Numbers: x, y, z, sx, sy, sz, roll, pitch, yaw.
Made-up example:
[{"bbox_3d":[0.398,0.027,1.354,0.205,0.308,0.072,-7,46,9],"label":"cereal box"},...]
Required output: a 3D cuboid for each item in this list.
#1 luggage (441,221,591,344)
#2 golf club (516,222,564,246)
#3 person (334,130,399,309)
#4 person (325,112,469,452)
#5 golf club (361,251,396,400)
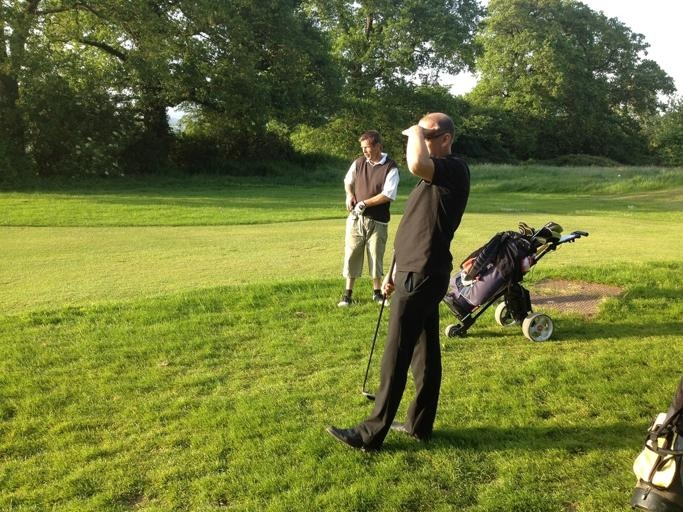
[{"bbox_3d":[2.108,0.256,9.402,2.024,1.771,1.198,-3,10,-2],"label":"luggage"},{"bbox_3d":[2.609,-0.304,8.825,0.685,0.273,0.246,10,26,-32],"label":"golf club"},{"bbox_3d":[0.394,-0.651,10.192,0.799,2.741,0.828,3,8,5],"label":"person"},{"bbox_3d":[0.708,0.225,7.012,1.092,3.274,1.390,0,0,-44],"label":"person"},{"bbox_3d":[0.447,0.832,7.339,0.138,1.715,0.330,-2,17,-30],"label":"golf club"}]
